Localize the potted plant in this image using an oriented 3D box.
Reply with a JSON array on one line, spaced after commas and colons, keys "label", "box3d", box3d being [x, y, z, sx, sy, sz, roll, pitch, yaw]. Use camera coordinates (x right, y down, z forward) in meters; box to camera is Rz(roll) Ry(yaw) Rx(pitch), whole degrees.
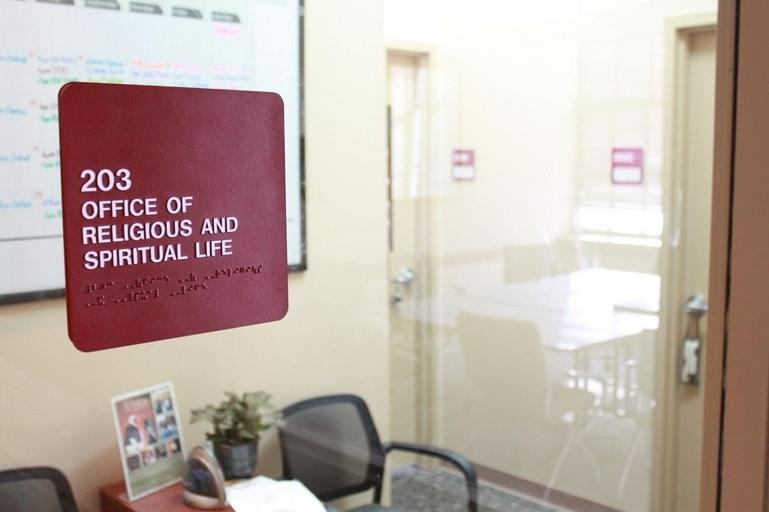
[{"label": "potted plant", "box3d": [-0.171, 0.200, 0.684, 0.113, 0.107, 0.099, 0, 3, -8]}]
